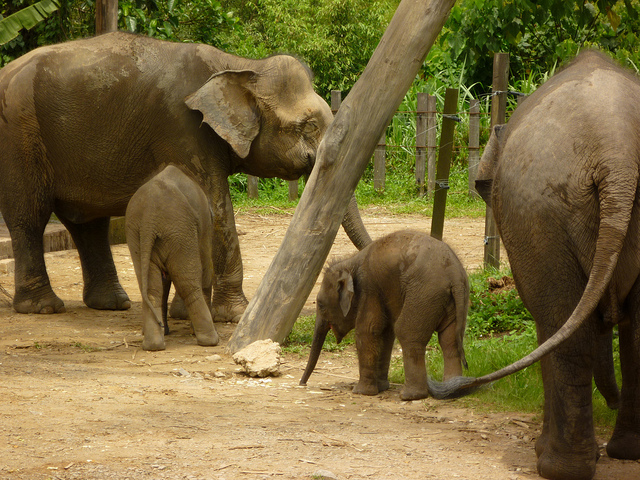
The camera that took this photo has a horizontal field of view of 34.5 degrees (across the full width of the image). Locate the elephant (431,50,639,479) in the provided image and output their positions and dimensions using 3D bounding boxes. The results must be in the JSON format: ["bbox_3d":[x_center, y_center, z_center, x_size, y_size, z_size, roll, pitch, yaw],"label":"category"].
[{"bbox_3d":[1.291,0.146,5.701,0.899,2.361,0.971,6,8,29],"label":"elephant"}]

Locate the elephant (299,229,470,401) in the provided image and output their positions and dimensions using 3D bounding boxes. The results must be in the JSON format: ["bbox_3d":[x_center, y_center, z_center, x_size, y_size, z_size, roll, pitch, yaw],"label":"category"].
[{"bbox_3d":[0.443,0.544,7.537,1.382,1.145,0.660,-4,-2,38],"label":"elephant"}]
